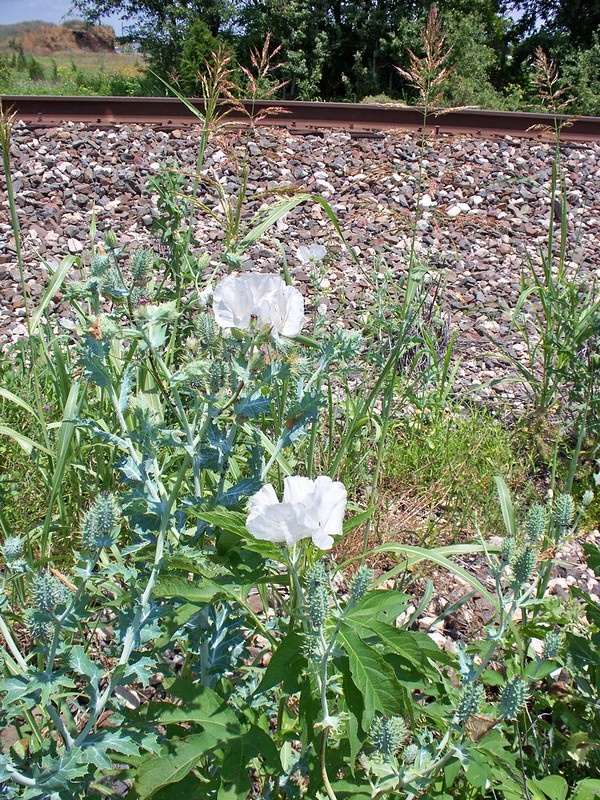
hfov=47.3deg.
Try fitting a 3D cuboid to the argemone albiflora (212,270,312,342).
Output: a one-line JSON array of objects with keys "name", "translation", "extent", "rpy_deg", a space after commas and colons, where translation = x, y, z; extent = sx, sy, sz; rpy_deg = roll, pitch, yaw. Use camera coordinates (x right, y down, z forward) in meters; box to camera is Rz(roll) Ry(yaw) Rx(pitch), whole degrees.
[{"name": "argemone albiflora", "translation": [-0.069, -0.165, 1.163], "extent": [0.133, 0.119, 0.067], "rpy_deg": [-14, 0, -12]}]

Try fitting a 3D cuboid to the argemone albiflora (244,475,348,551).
[{"name": "argemone albiflora", "translation": [0.001, 0.151, 1.004], "extent": [0.136, 0.078, 0.123], "rpy_deg": [-14, 18, -20]}]
